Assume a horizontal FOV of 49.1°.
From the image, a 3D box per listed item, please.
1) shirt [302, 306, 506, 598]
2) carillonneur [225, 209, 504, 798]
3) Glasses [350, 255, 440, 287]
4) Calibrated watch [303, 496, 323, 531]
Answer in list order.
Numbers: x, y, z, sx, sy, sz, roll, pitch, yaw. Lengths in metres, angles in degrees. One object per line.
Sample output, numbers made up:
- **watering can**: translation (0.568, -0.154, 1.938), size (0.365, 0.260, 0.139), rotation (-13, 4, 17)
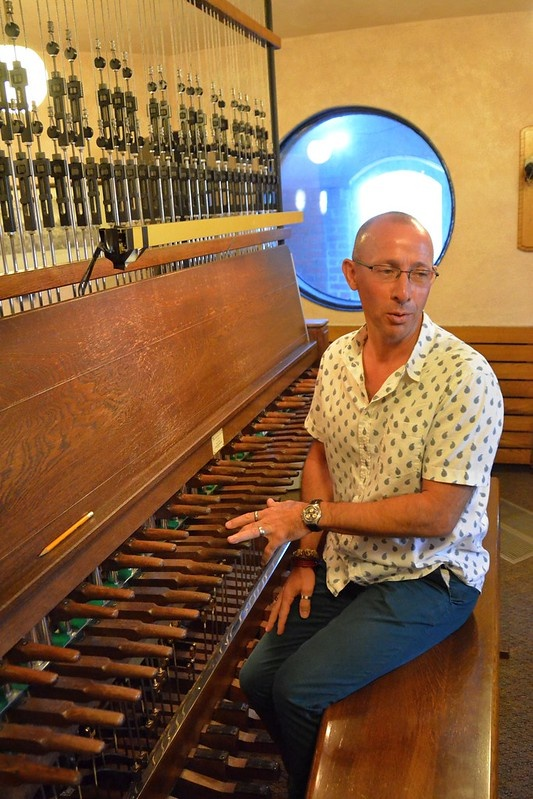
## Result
- **shirt**: translation (0.319, 0.064, 1.308), size (0.395, 0.634, 0.327), rotation (9, 15, 20)
- **carillonneur**: translation (0.227, 0.228, 1.435), size (0.819, 1.149, 0.774), rotation (-4, 10, 7)
- **Glasses**: translation (0.267, -0.263, 1.182), size (0.148, 0.053, 0.089), rotation (8, 16, 16)
- **Calibrated watch**: translation (0.098, 0.223, 1.154), size (0.036, 0.056, 0.057), rotation (10, 65, 18)
